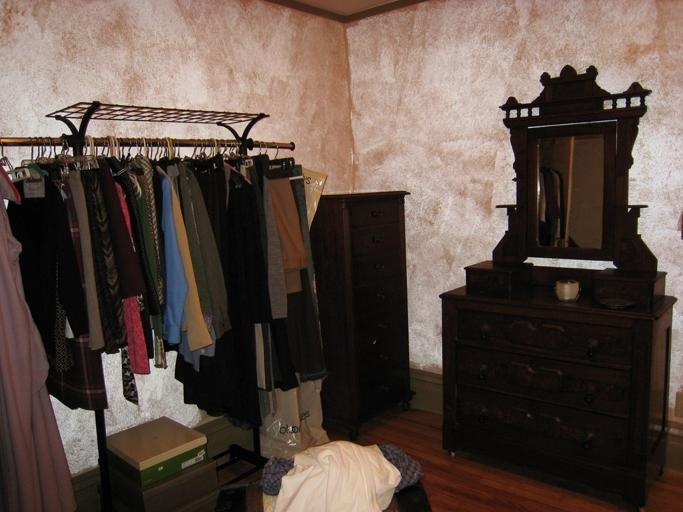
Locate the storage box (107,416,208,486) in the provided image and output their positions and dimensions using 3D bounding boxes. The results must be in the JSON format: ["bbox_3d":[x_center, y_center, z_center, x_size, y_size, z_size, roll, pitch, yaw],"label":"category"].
[{"bbox_3d":[-1.052,1.080,3.375,0.548,0.160,0.576,0,9,-1],"label":"storage box"}]

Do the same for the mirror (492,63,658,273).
[{"bbox_3d":[1.475,-0.535,3.686,1.188,1.474,0.148,4,10,34],"label":"mirror"}]

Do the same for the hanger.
[{"bbox_3d":[-1.056,-0.594,3.311,1.510,0.129,0.656,-7,15,-37],"label":"hanger"}]

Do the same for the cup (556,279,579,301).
[{"bbox_3d":[1.308,0.191,3.492,0.114,0.090,0.111,-4,8,1],"label":"cup"}]

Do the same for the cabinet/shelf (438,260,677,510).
[{"bbox_3d":[1.299,0.770,3.492,1.225,1.224,0.612,3,5,39],"label":"cabinet/shelf"}]

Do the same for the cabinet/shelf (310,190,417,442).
[{"bbox_3d":[0.173,0.383,4.182,0.686,1.635,0.409,-6,13,-31],"label":"cabinet/shelf"}]
